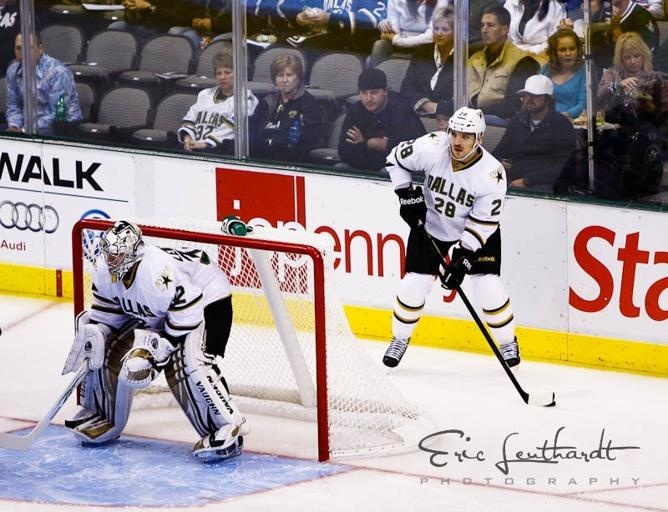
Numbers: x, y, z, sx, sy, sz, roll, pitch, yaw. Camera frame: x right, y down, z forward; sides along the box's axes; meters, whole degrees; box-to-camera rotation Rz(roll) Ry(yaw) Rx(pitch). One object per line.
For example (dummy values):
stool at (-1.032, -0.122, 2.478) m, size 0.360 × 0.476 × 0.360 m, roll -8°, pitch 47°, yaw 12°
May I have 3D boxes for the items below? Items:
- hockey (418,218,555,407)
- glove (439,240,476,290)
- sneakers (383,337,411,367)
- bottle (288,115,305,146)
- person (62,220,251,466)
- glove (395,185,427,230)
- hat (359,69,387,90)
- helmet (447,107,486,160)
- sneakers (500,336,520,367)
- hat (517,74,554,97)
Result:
hockey at (0.938, 0.327, 6.048) m, size 0.177 × 1.201 × 0.131 m, roll 2°, pitch -38°, yaw -50°
glove at (0.700, 0.062, 5.809) m, size 0.166 × 0.273 × 0.086 m, roll 41°, pitch 9°, yaw 35°
sneakers at (0.397, 0.555, 6.211) m, size 0.086 × 0.107 × 0.274 m, roll 28°, pitch 30°, yaw -1°
bottle at (-0.240, -0.822, 6.655) m, size 0.085 × 0.218 × 0.072 m, roll 5°, pitch 41°, yaw -8°
person at (-0.904, 0.413, 5.114) m, size 1.002 × 1.114 × 0.760 m, roll 0°, pitch 9°, yaw 18°
glove at (0.454, -0.274, 5.973) m, size 0.171 × 0.238 × 0.100 m, roll -10°, pitch -5°, yaw 22°
hat at (0.242, -1.089, 6.344) m, size 0.142 × 0.094 × 0.141 m, roll 12°, pitch 32°, yaw 23°
helmet at (0.740, -0.668, 5.696) m, size 0.192 × 0.294 × 0.144 m, roll 3°, pitch 10°, yaw 6°
sneakers at (1.042, 0.576, 6.055) m, size 0.079 × 0.226 × 0.099 m, roll -22°, pitch -25°, yaw 26°
hat at (1.200, -0.986, 5.952) m, size 0.109 × 0.083 × 0.152 m, roll 10°, pitch 19°, yaw 41°
